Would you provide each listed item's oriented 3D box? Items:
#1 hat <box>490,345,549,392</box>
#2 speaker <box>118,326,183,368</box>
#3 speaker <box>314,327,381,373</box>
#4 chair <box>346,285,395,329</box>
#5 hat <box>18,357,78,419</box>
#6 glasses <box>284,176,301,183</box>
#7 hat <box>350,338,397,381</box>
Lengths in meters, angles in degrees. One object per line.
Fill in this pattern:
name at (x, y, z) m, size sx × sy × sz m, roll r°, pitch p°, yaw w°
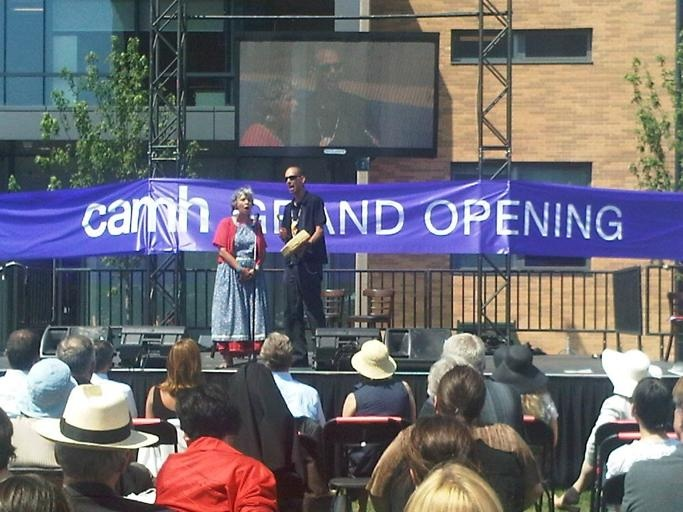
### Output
hat at (2.713, 1.819, 28.228) m, size 0.705 × 0.449 × 0.721 m, roll 10°, pitch 8°, yaw 21°
speaker at (-3.086, 1.533, 30.630) m, size 0.956 × 0.655 × 0.717 m, roll 0°, pitch 5°, yaw -5°
speaker at (0.012, 1.537, 30.289) m, size 0.916 × 0.647 × 0.692 m, roll 1°, pitch -1°, yaw -3°
chair at (0.580, 1.210, 34.257) m, size 0.764 × 1.025 × 0.709 m, roll -2°, pitch 2°, yaw -41°
hat at (-4.200, 2.017, 27.288) m, size 0.677 × 0.496 × 0.891 m, roll 9°, pitch 43°, yaw -8°
glasses at (-0.746, -1.186, 30.818) m, size 0.248 × 0.123 × 0.140 m, roll 0°, pitch -4°, yaw 14°
hat at (0.494, 1.628, 28.450) m, size 0.542 × 0.313 × 0.592 m, roll -12°, pitch 32°, yaw -30°
